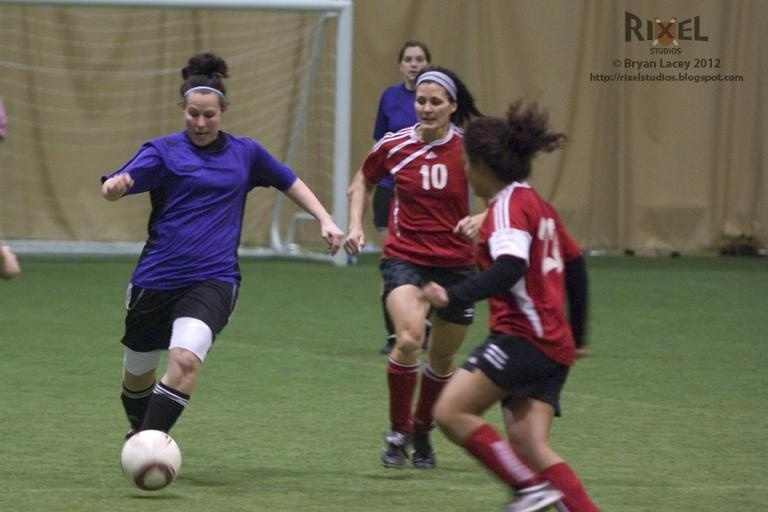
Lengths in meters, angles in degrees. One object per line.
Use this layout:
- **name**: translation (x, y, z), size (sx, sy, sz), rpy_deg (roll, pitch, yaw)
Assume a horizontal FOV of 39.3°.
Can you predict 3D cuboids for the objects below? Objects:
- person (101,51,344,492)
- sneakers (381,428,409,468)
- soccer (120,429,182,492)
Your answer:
- **person**: translation (-1.033, -0.004, 6.168), size (1.090, 2.288, 0.915), rpy_deg (-4, 12, -21)
- **sneakers**: translation (0.059, 1.141, 6.352), size (0.147, 0.188, 0.433), rpy_deg (18, 6, 0)
- **soccer**: translation (-1.262, 1.115, 5.834), size (0.332, 0.332, 0.324), rpy_deg (-1, -15, -12)
